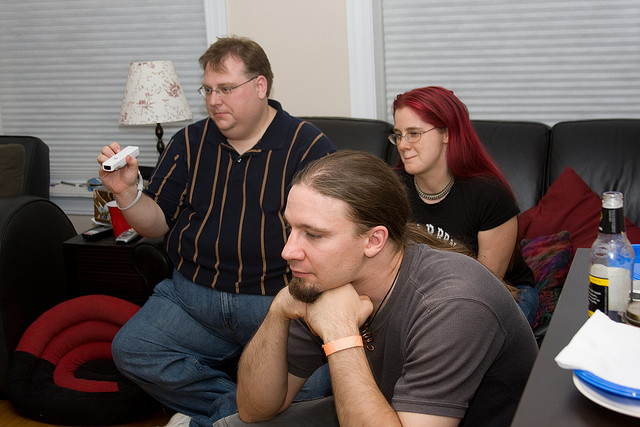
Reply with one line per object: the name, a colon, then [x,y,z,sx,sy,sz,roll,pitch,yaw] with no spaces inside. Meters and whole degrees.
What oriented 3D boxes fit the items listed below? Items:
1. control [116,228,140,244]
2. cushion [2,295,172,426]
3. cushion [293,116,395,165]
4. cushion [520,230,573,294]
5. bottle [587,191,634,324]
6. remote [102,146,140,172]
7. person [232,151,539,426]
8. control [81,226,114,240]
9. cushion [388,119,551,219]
control: [-1.081,0.130,2.606,0.077,0.038,0.163,5,20,9]
cushion: [-1.151,0.737,2.334,0.765,0.507,0.442,1,11,0]
cushion: [0.167,-0.441,2.728,0.483,0.245,0.250,11,15,41]
cushion: [1.090,0.214,2.213,0.083,0.282,0.274,25,-31,-33]
bottle: [0.811,0.116,1.271,0.112,0.355,0.184,8,13,30]
remote: [-0.877,-0.244,2.048,0.087,0.034,0.149,15,42,27]
person: [0.108,0.096,1.618,0.826,1.026,0.870,-9,3,-17]
control: [-1.293,0.111,2.685,0.066,0.035,0.145,1,6,18]
cushion: [1.013,-0.153,2.878,0.630,0.715,0.670,1,-3,22]
